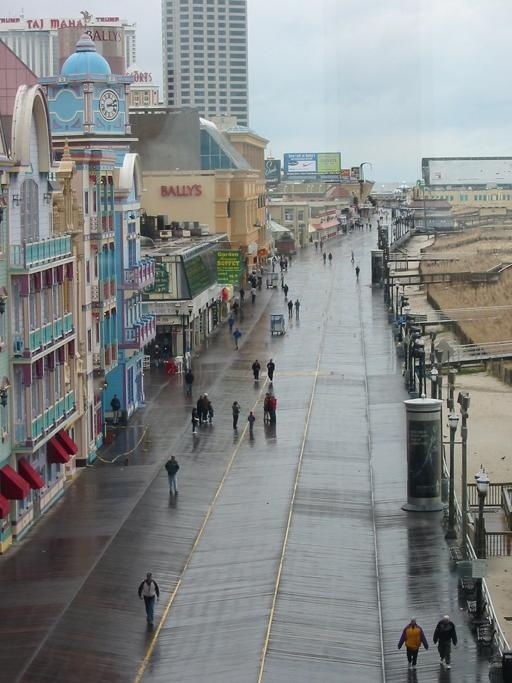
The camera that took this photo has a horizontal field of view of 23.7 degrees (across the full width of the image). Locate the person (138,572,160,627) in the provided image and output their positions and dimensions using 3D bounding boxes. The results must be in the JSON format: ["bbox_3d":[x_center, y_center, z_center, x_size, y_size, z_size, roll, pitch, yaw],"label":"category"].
[{"bbox_3d":[-2.477,5.861,28.432,0.430,1.343,1.465,-3,11,-5],"label":"person"}]

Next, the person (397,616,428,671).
[{"bbox_3d":[3.253,6.166,25.226,0.591,1.375,0.313,-1,38,4],"label":"person"}]

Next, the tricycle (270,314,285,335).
[{"bbox_3d":[1.465,-1.057,83.550,0.921,1.559,1.816,-3,11,-1],"label":"tricycle"}]

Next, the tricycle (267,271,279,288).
[{"bbox_3d":[1.667,-5.774,118.444,0.821,1.515,1.344,0,-3,3],"label":"tricycle"}]

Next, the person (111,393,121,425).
[{"bbox_3d":[-6.026,3.036,52.951,0.418,1.414,1.430,-3,11,-8],"label":"person"}]

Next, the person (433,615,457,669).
[{"bbox_3d":[3.932,6.218,25.429,0.449,1.101,0.582,0,10,11],"label":"person"}]
